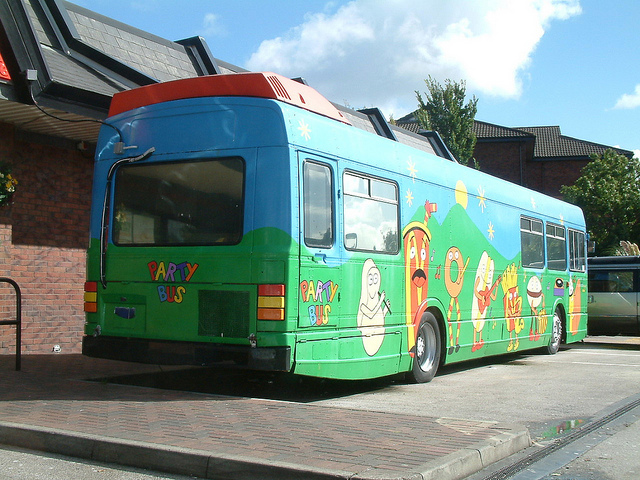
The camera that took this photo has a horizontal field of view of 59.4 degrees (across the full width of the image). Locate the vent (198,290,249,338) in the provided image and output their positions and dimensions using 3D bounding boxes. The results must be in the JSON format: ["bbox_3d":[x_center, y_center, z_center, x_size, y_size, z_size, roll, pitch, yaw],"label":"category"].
[{"bbox_3d":[-1.243,0.954,7.254,0.727,0.582,0.112,-3,-7,30],"label":"vent"}]

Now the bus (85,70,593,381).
[{"bbox_3d":[1.391,-0.002,12.601,4.138,4.651,12.776,-2,-2,40],"label":"bus"}]
